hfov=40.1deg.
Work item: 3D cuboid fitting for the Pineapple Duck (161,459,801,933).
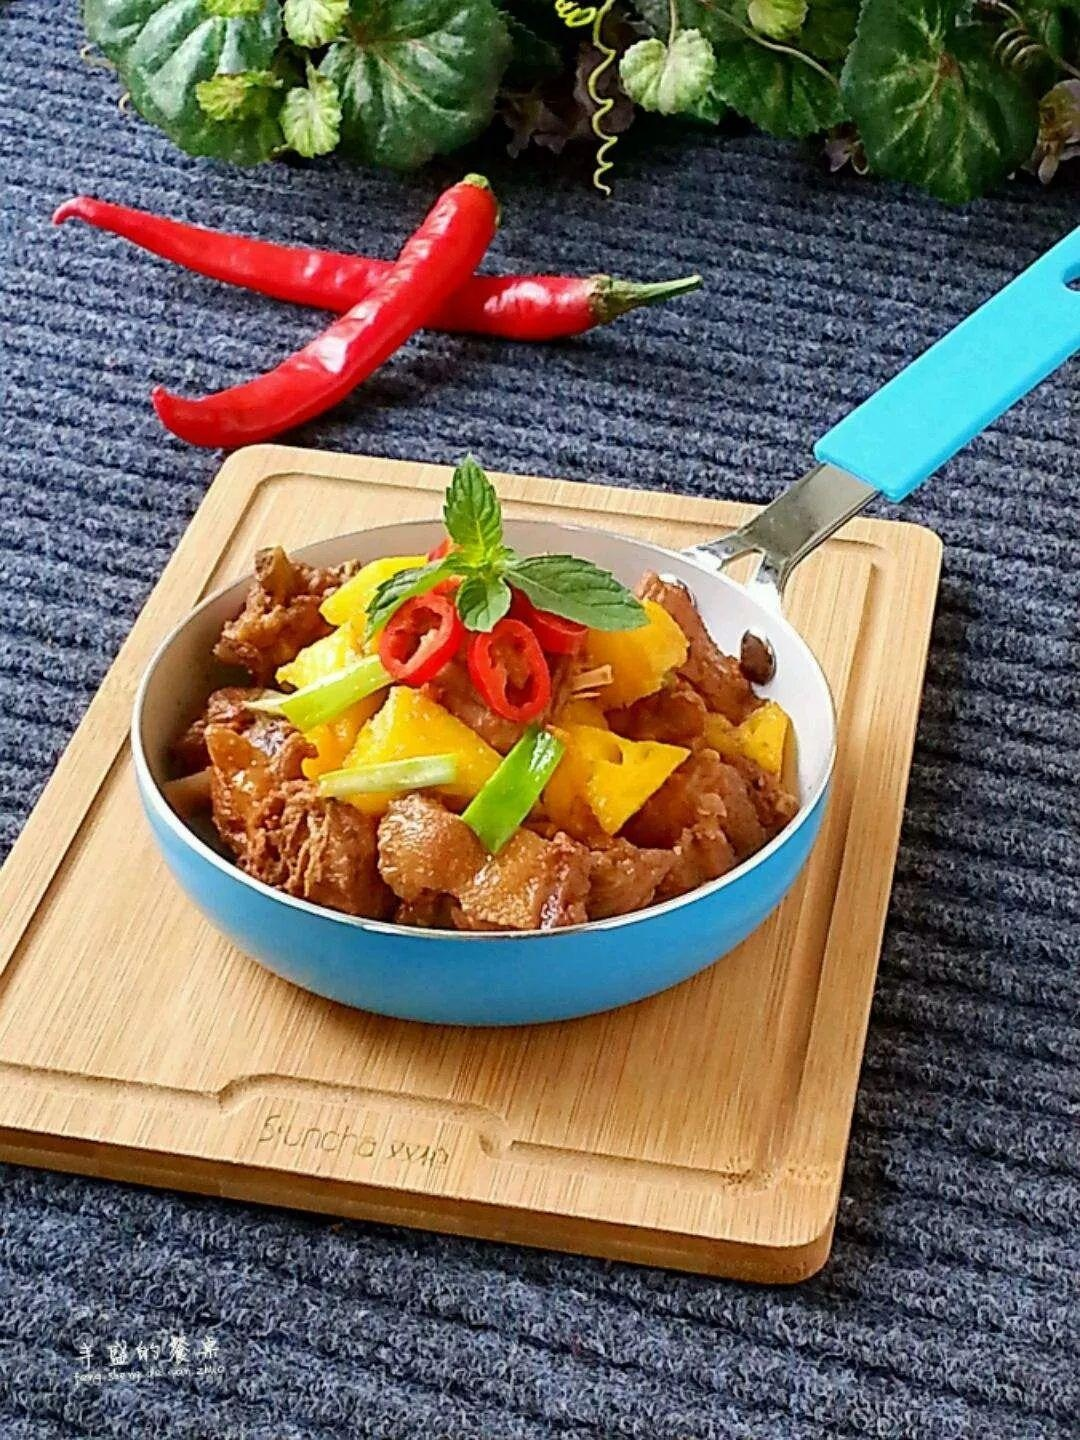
[{"bbox_3d":[-0.036,0.013,0.798,0.276,0.145,0.321,4,32,4],"label":"Pineapple Duck"}]
